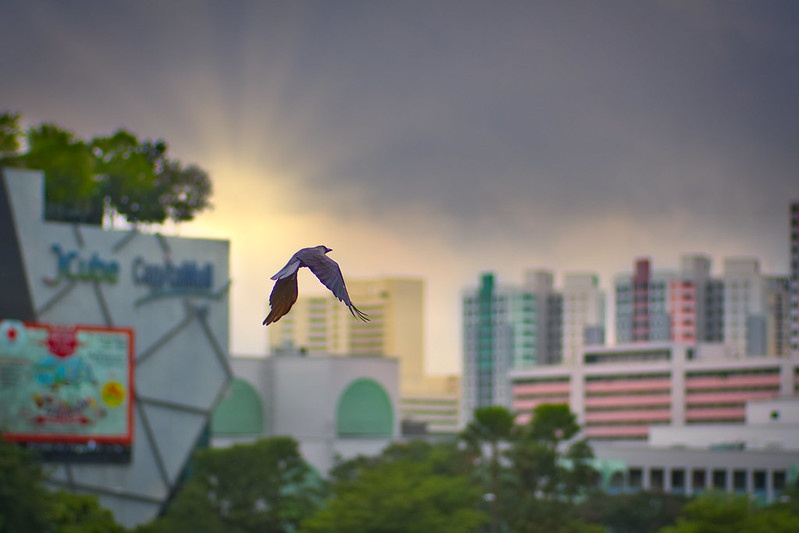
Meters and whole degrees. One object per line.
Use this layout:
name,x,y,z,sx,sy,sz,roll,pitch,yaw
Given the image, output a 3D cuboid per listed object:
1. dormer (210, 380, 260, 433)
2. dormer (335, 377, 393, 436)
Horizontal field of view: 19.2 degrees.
dormer,-8.066,6.780,116.591,2.796,3.157,0.416,2,6,19
dormer,-1.699,6.889,117.176,2.800,2.939,0.291,0,0,21
